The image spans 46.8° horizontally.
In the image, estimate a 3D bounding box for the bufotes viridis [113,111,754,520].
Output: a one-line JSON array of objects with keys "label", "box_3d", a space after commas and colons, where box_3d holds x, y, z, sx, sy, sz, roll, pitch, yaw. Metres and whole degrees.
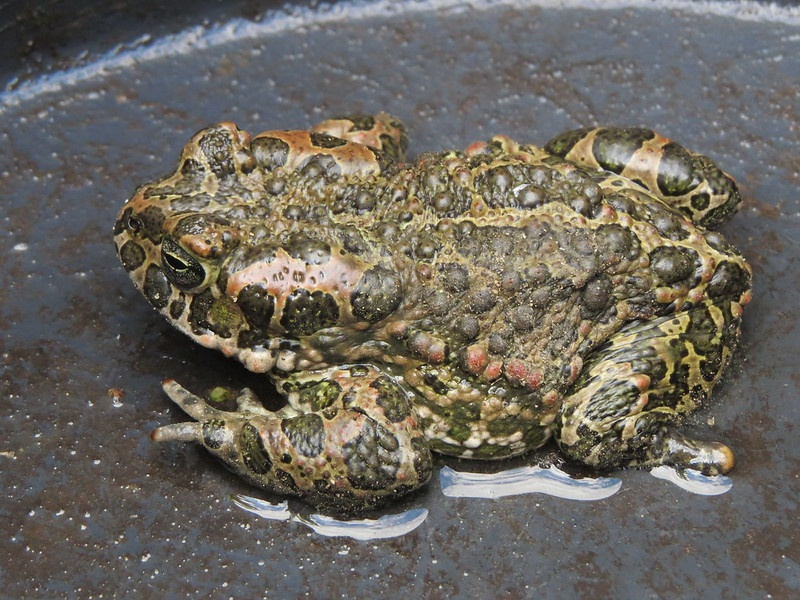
[{"label": "bufotes viridis", "box_3d": [0.287, 0.016, 5.104, 3.257, 1.025, 2.058, 0, 63, 1]}]
